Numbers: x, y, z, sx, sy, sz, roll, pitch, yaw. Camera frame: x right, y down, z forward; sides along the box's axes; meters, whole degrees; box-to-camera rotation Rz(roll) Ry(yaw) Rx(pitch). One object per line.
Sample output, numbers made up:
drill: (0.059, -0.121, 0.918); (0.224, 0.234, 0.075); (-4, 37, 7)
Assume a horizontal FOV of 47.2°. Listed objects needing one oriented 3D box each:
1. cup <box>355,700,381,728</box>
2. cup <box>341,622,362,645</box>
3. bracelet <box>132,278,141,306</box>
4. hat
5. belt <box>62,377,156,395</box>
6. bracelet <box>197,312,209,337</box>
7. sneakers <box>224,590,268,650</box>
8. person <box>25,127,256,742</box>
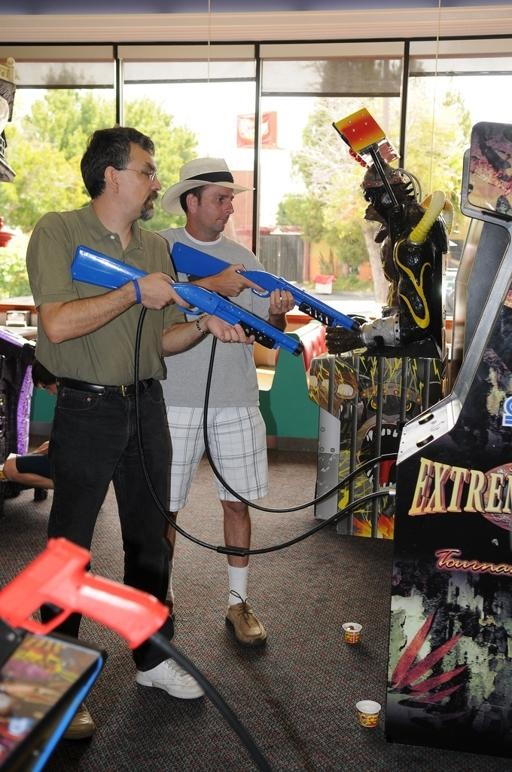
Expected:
cup: (0.321, 0.915, 1.655); (0.057, 0.041, 0.059); (-2, -5, 0)
cup: (0.341, 0.875, 2.089); (0.067, 0.047, 0.065); (-2, 9, 0)
bracelet: (-0.301, -0.239, 1.484); (0.018, 0.056, 0.030); (1, 7, -6)
hat: (-0.210, -0.779, 2.233); (0.356, 0.142, 0.295); (-7, 14, 7)
belt: (-0.423, 0.000, 1.587); (0.241, 0.043, 0.092); (3, 7, 12)
bracelet: (-0.164, -0.185, 1.790); (0.027, 0.060, 0.046); (-9, 24, -18)
sneakers: (-0.041, 0.845, 2.152); (0.110, 0.092, 0.240); (-3, 14, -27)
person: (-0.354, 0.111, 1.700); (0.563, 1.636, 0.408); (-3, 8, -31)
